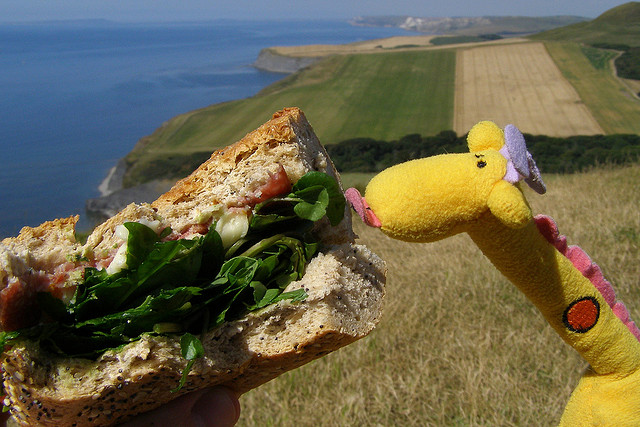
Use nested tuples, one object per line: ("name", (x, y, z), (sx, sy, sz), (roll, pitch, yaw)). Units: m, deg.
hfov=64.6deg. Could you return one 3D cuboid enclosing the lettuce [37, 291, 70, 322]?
("lettuce", (-2.857, 1.037, 5.535), (0.163, 0.497, 0.051), (-47, 15, -14))
